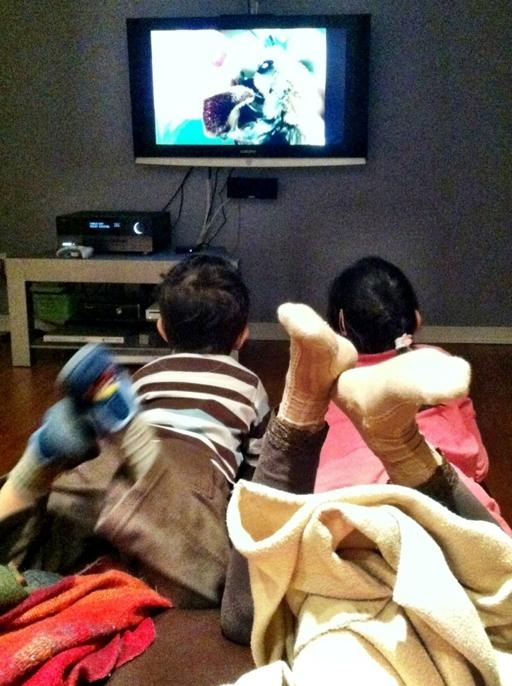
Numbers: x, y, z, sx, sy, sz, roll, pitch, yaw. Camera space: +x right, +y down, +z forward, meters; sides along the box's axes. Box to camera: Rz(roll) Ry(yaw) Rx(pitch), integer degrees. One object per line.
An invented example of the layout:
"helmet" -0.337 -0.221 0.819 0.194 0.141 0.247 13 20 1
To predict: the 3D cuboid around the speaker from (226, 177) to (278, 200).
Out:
"speaker" -0.016 -0.705 2.782 0.239 0.106 0.069 2 18 -1
